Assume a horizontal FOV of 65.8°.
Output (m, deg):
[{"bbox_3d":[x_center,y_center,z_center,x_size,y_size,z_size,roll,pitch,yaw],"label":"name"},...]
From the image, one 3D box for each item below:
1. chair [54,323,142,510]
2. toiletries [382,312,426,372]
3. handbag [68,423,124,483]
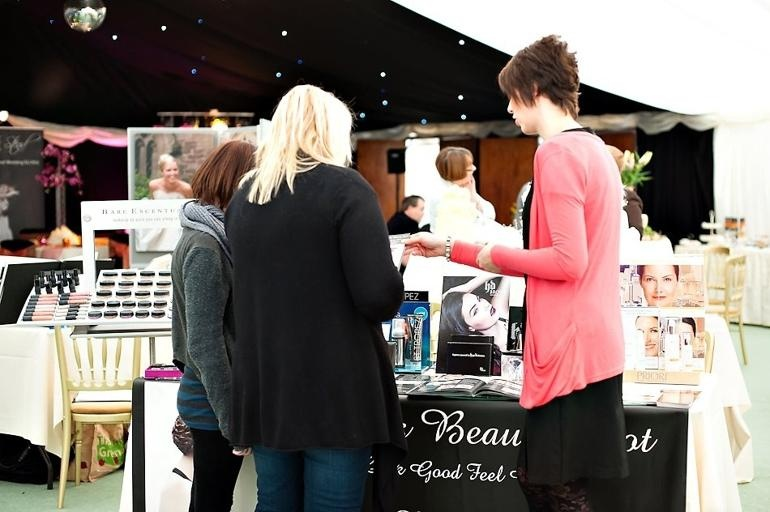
[{"bbox_3d":[-1.764,0.957,3.675,0.477,1.052,0.566,3,-5,-23],"label":"chair"},{"bbox_3d":[0.092,0.390,2.632,0.305,0.309,0.074,1,-8,-4],"label":"toiletries"},{"bbox_3d":[-1.856,1.261,3.817,0.352,0.342,0.132,-15,22,-41],"label":"handbag"}]
